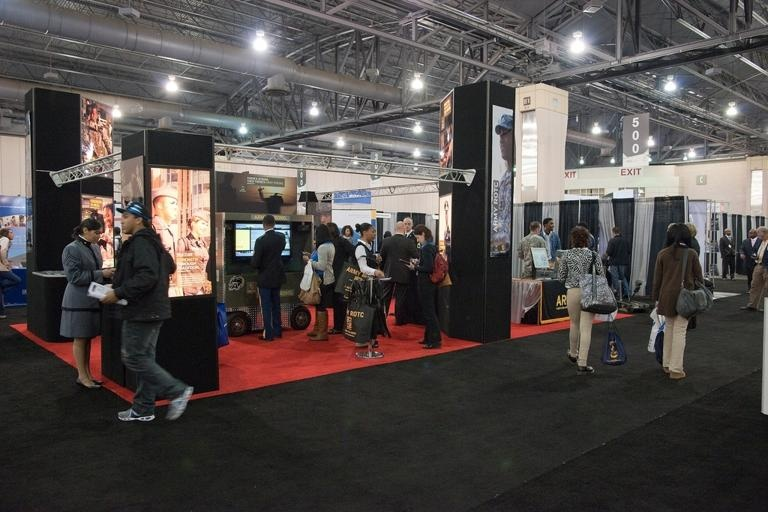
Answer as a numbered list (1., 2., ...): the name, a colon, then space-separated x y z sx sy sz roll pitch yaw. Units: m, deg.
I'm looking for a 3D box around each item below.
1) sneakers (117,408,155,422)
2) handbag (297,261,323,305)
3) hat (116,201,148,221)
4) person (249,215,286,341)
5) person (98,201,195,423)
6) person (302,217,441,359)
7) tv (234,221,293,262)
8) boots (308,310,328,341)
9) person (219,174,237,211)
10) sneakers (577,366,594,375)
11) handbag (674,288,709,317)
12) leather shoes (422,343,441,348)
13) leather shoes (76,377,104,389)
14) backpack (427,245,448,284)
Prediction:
1. sneakers: -2.659 1.687 5.984 0.366 0.163 0.159 12 -7 -5
2. handbag: -1.170 0.433 8.745 0.363 0.894 0.715 2 -2 -26
3. hat: -2.698 -0.481 5.927 0.267 0.150 0.193 21 2 5
4. person: -1.851 0.336 8.846 0.550 1.960 0.407 -6 12 -32
5. person: -2.497 0.587 5.833 0.831 2.289 0.654 -2 10 -11
6. person: -0.188 0.440 8.512 0.812 1.849 1.503 5 12 25
7. tv: -2.026 -0.248 9.039 0.663 0.465 0.064 2 -5 -31
8. boots: -1.019 1.090 8.892 0.404 0.547 0.438 1 1 -9
9. person: -3.154 -1.271 10.880 0.387 0.744 0.274 -9 14 -41
10. sneakers: 2.652 1.483 7.312 0.253 0.118 0.091 -5 3 -44
11. handbag: 3.814 0.553 6.920 0.310 0.321 0.141 -5 -9 -17
12. leather shoes: 0.723 1.334 8.514 0.244 0.110 0.092 4 -3 14
13. leather shoes: -3.597 1.535 6.742 0.295 0.078 0.138 0 -2 9
14. backpack: 0.807 0.105 8.387 0.385 0.723 0.567 0 -1 9
